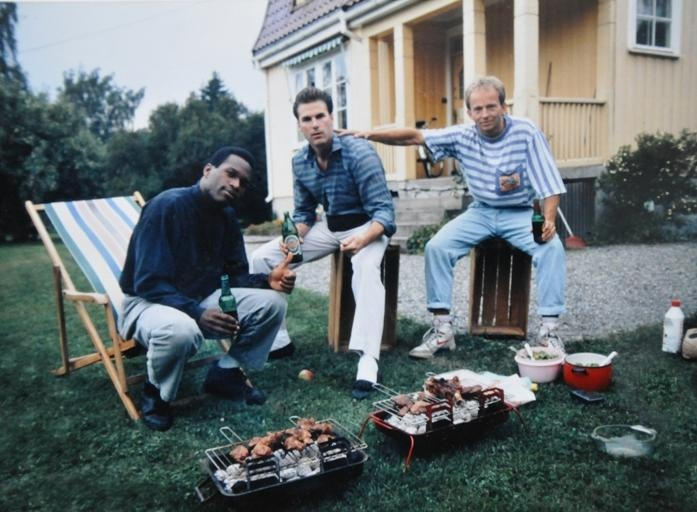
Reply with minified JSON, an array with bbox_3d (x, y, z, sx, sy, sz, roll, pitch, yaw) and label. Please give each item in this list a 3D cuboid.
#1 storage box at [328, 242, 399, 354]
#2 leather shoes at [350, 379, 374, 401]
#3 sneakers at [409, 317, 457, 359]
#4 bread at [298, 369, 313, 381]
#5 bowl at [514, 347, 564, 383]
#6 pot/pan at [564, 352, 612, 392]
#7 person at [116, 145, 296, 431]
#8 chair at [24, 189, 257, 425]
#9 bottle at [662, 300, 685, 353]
[{"bbox_3d":[0.085,0.364,4.884,0.662,0.838,0.684,-2,-8,-18],"label":"storage box"},{"bbox_3d":[0.090,0.865,4.082,0.156,0.098,0.112,-6,12,-2],"label":"leather shoes"},{"bbox_3d":[0.634,0.593,4.704,0.434,0.256,0.164,-12,13,-29],"label":"sneakers"},{"bbox_3d":[-0.298,0.820,4.333,0.069,0.043,0.071,20,8,37],"label":"bread"},{"bbox_3d":[1.287,0.728,4.224,0.324,0.199,0.185,-6,11,-3],"label":"bowl"},{"bbox_3d":[1.585,0.748,4.103,0.361,0.198,0.235,-5,12,2],"label":"pot/pan"},{"bbox_3d":[-0.964,0.162,4.122,0.953,1.761,0.975,-3,7,-44],"label":"person"},{"bbox_3d":[-1.457,0.102,4.676,1.704,1.603,1.237,17,21,42],"label":"chair"},{"bbox_3d":[2.265,0.475,4.380,0.128,0.384,0.180,1,13,28],"label":"bottle"}]
